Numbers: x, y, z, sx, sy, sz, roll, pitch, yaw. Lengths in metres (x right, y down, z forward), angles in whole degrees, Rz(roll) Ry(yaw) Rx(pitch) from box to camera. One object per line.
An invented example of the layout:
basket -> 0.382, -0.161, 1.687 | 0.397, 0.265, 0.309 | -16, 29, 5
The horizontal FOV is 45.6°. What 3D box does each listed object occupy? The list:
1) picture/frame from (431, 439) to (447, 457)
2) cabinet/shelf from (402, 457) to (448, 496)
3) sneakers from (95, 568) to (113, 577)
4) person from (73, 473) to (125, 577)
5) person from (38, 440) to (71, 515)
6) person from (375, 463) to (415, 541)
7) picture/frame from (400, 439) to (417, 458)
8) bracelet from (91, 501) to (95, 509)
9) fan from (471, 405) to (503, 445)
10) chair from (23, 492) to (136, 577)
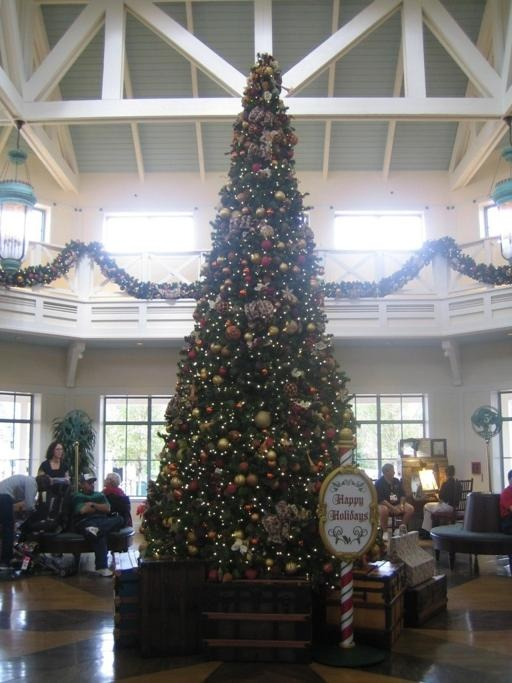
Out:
picture/frame -> 2.851, 1.665, 9.556 | 0.274, 0.306, 0.043 | 2, -8, -3
cabinet/shelf -> 2.453, 1.997, 8.957 | 0.547, 0.468, 0.191 | 3, -27, -8
sneakers -> -1.484, 2.255, 5.940 | 0.139, 0.078, 0.270 | 3, -9, -21
person -> -1.624, 1.857, 6.194 | 0.498, 0.933, 0.540 | 1, -9, -8
person -> -2.069, 1.500, 6.312 | 0.314, 0.925, 0.355 | -1, 11, -32
person -> 1.706, 2.005, 7.654 | 0.519, 0.792, 0.520 | 4, 8, 42
picture/frame -> 2.405, 1.675, 9.631 | 0.293, 0.277, 0.760 | -3, -9, 13
bracelet -> -1.655, 1.674, 6.221 | 0.033, 0.045, 0.046 | 3, 9, 13
fan -> 3.581, 1.280, 9.466 | 0.401, 0.581, 0.647 | -4, -10, 21
chair -> -1.750, 1.946, 6.310 | 0.974, 0.969, 1.234 | 5, -20, -13
